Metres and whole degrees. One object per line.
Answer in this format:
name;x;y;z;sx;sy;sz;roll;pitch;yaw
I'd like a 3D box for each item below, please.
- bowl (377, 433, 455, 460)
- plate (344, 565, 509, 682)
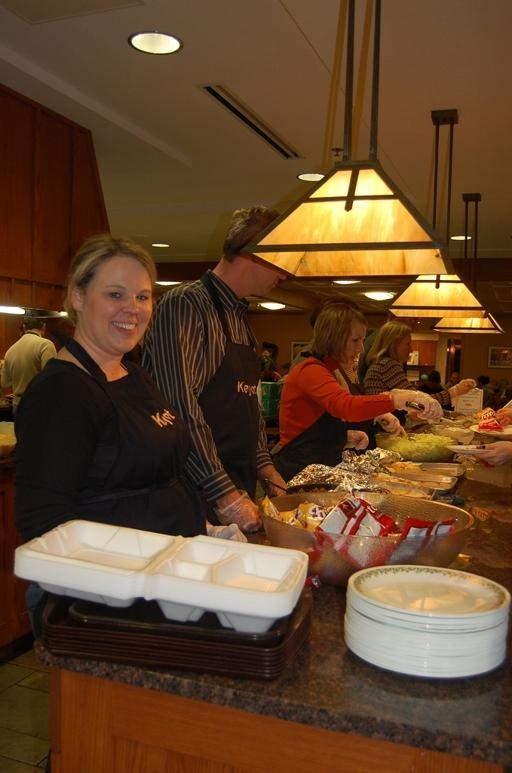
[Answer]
bowl;0.737;0.279;2.669;0.207;0.079;0.172;-5;-4;20
plate;0.260;0.342;0.884;0.239;0.121;0.265;2;7;16
